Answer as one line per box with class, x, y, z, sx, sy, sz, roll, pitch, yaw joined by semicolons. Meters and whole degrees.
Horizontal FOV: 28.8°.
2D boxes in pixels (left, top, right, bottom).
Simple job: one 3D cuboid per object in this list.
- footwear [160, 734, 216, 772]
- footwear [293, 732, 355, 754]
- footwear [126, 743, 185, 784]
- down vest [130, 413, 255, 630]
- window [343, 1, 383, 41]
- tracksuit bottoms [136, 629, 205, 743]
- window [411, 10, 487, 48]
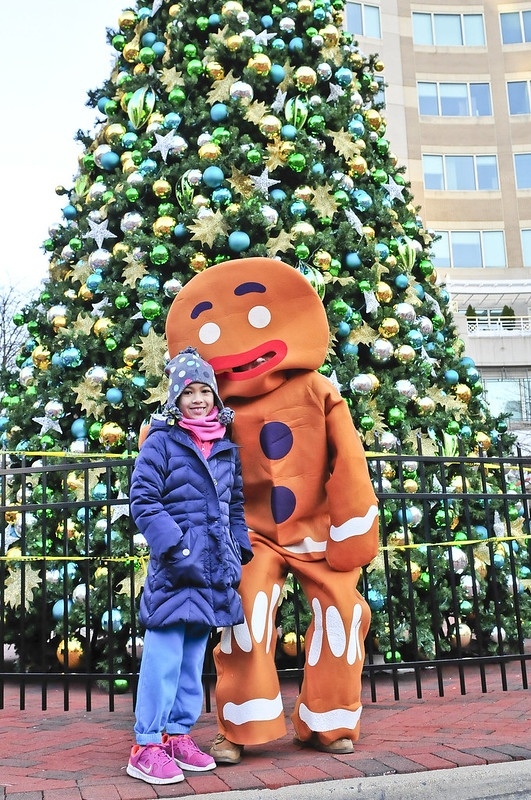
footwear;-0.356;1.400;4.206;0.284;0.105;0.098;4;0;34
footwear;0.260;1.436;4.438;0.269;0.101;0.090;-7;-12;34
footwear;-0.438;1.405;4.057;0.189;0.140;0.217;-1;-10;-18
down vest;-0.294;0.488;4.223;0.533;0.865;0.312;-1;-11;-19
window;2.507;-9.774;26.758;0.418;1.001;1.489;-14;-13;39
tracksuit bottoms;-0.381;1.121;4.154;0.264;0.443;0.275;-9;-11;22
window;4.968;-10.135;28.435;1.584;0.651;0.072;1;-6;-22
